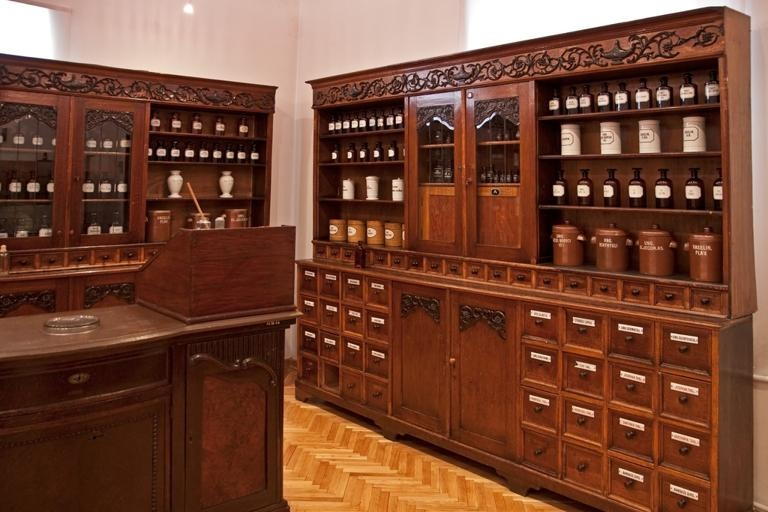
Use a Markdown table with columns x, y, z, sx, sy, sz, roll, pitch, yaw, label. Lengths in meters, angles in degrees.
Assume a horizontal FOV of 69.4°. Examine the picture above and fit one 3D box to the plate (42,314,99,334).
| x | y | z | sx | sy | sz | roll | pitch | yaw | label |
| --- | --- | --- | --- | --- | --- | --- | --- | --- | --- |
| -1.878 | 0.398 | 3.312 | 0.289 | 0.045 | 0.375 | -6 | 13 | -32 | plate |
